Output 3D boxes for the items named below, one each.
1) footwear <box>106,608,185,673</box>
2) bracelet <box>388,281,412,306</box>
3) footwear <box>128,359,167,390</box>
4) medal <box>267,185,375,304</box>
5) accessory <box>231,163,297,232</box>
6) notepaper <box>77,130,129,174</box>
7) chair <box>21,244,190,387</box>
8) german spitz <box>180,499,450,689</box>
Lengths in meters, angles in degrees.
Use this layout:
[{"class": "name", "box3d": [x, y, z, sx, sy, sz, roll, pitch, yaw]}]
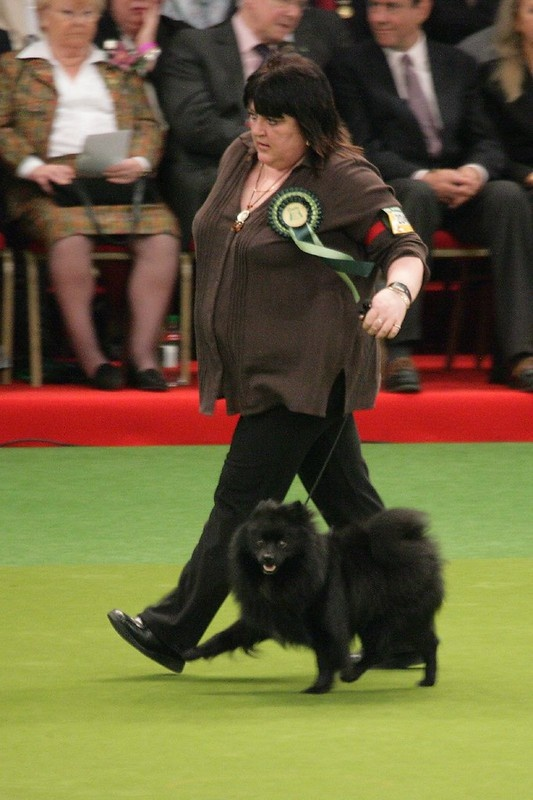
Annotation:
[{"class": "footwear", "box3d": [-0.285, 0.556, 2.169, 0.086, 0.089, 0.241, -8, -45, 46]}, {"class": "bracelet", "box3d": [0.279, -0.212, 1.887, 0.049, 0.013, 0.047, 36, 12, -22]}, {"class": "footwear", "box3d": [-0.682, -0.114, 5.241, 0.115, 0.095, 0.282, -3, 5, -43]}, {"class": "medal", "box3d": [0.098, -0.324, 1.990, 0.295, 0.169, 0.089, 27, -38, -31]}, {"class": "accessory", "box3d": [-0.014, -0.473, 2.104, 0.048, 0.175, 0.101, 7, 19, -39]}, {"class": "notepaper", "box3d": [-0.905, -1.365, 5.104, 0.301, 0.255, 0.031, 7, 11, -27]}, {"class": "chair", "box3d": [-0.979, -0.546, 5.662, 1.062, 0.802, 0.824, -4, 14, -44]}, {"class": "german spitz", "box3d": [0.134, 0.430, 2.050, 0.458, 0.340, 0.311, -1, -1, -24]}]
